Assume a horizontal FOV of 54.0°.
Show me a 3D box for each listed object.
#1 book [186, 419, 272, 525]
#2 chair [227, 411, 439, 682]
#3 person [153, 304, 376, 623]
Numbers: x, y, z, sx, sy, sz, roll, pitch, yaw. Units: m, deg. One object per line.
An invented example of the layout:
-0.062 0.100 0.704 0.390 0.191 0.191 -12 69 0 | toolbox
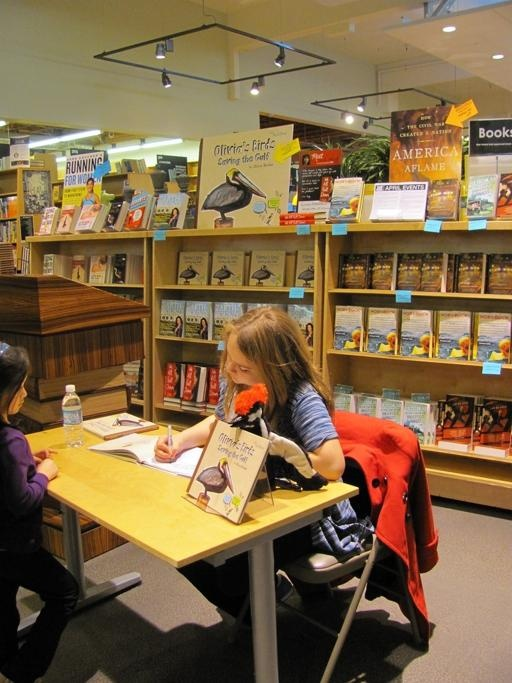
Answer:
-0.052 0.287 1.078 0.024 0.162 0.175 25 -5 -37 | book
0.245 0.633 1.839 0.779 0.866 0.710 8 -9 -40 | chair
0.031 0.383 1.511 0.515 0.939 0.548 5 11 36 | person
